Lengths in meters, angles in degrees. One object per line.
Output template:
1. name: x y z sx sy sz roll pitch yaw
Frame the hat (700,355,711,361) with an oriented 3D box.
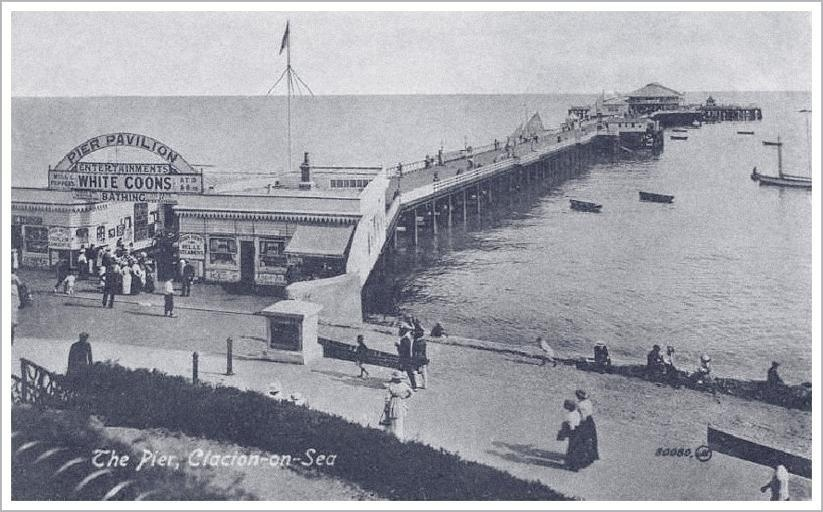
1. hat: 8.459 2.941 26.793 0.194 0.189 0.057 -1 -6 37

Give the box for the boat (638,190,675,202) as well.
1. boat: 7.594 -1.853 28.935 1.093 0.354 0.631 1 9 13

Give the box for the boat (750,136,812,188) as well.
1. boat: 11.191 -2.776 28.271 1.420 1.462 1.345 -2 8 -11

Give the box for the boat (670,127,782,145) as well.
1. boat: 9.939 -3.802 29.543 3.366 0.511 0.640 3 9 23

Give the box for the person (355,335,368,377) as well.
1. person: -1.471 2.874 26.873 0.341 1.191 0.470 -1 8 -5

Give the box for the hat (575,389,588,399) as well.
1. hat: 4.671 3.842 25.701 0.313 0.164 0.383 3 -4 1

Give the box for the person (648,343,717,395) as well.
1. person: 7.720 3.246 26.803 1.548 0.687 1.159 7 6 13

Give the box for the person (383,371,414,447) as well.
1. person: -0.482 4.115 25.717 0.703 2.119 0.913 -1 8 -3

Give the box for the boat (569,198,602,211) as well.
1. boat: 5.426 -1.599 29.298 0.888 0.325 0.390 16 29 33

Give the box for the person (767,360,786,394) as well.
1. person: 10.446 3.450 26.812 0.464 0.775 0.251 -2 8 -12

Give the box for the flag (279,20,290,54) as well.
1. flag: -3.924 -6.660 28.239 0.308 0.944 0.291 -2 8 -12

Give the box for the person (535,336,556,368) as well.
1. person: 3.911 2.788 27.196 0.473 0.725 0.564 -2 8 -9

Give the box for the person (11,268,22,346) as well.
1. person: -12.142 1.615 28.379 0.357 1.976 0.991 -4 9 -22
